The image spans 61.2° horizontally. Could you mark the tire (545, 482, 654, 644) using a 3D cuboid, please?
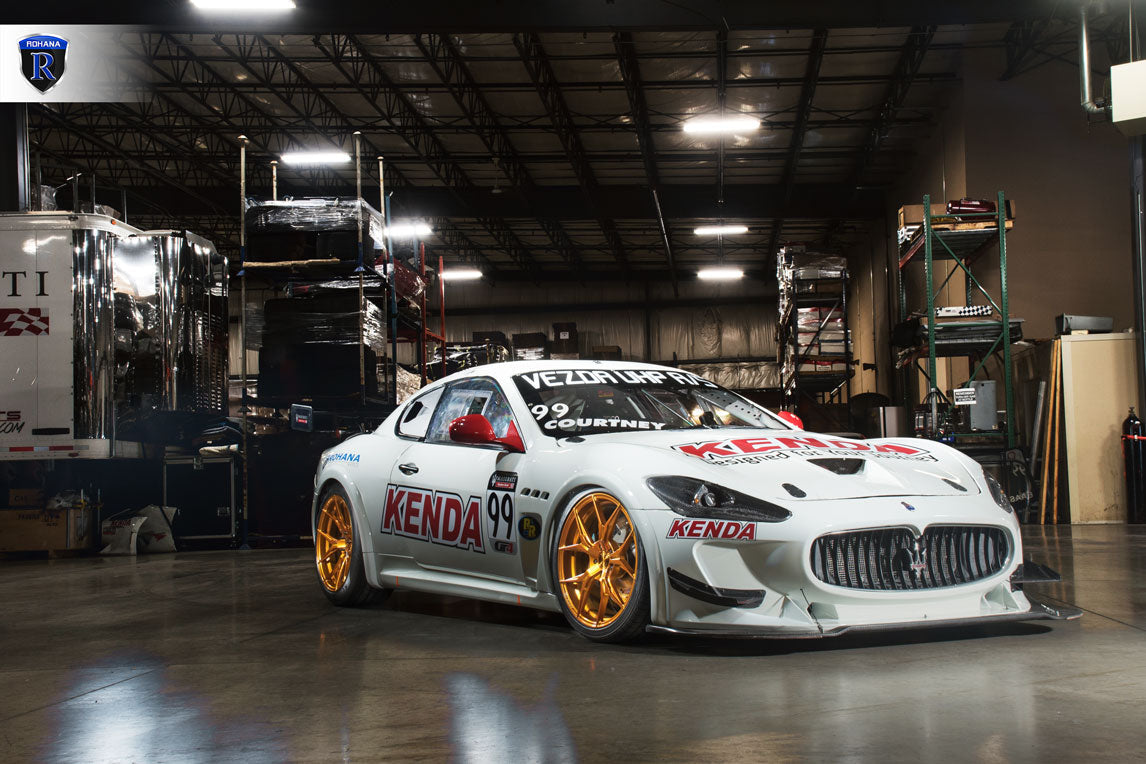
[{"bbox_3d":[0.187,1.062,5.898,0.842,1.040,0.291,-7,-13,41],"label":"tire"}]

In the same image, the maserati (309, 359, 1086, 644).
[{"bbox_3d":[0.245,0.838,6.432,2.220,1.196,3.711,3,-6,-39],"label":"maserati"}]

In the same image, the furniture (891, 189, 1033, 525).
[{"bbox_3d":[6.535,-0.484,16.004,1.661,5.202,2.295,-3,9,22],"label":"furniture"}]
